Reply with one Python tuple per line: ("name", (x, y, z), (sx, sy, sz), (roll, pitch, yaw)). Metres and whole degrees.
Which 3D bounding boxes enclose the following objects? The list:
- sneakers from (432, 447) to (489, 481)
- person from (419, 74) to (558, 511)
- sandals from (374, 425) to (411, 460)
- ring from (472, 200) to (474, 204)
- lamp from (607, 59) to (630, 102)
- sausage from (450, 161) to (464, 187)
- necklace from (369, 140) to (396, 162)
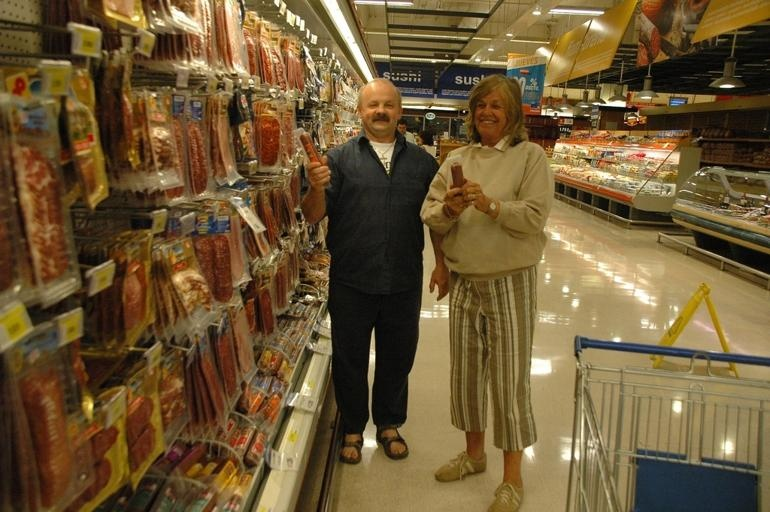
("sneakers", (0.416, 1.153, 2.608), (0.311, 0.130, 0.123), (-5, 7, -13))
("person", (0.484, 0.193, 2.334), (0.682, 2.082, 0.610), (8, 17, 20))
("sandals", (0.049, 1.093, 2.748), (0.099, 0.091, 0.214), (-3, 2, -25))
("ring", (0.392, -0.239, 2.076), (0.012, 0.011, 0.003), (1, -1, -8))
("lamp", (6.667, -4.955, 13.271), (0.377, 1.280, 4.953), (9, 19, 24))
("sausage", (0.313, -0.354, 2.020), (0.041, 0.042, 0.137), (0, -26, 11))
("necklace", (-0.009, -0.570, 2.554), (0.135, 0.100, 0.099), (2, 17, 0))
